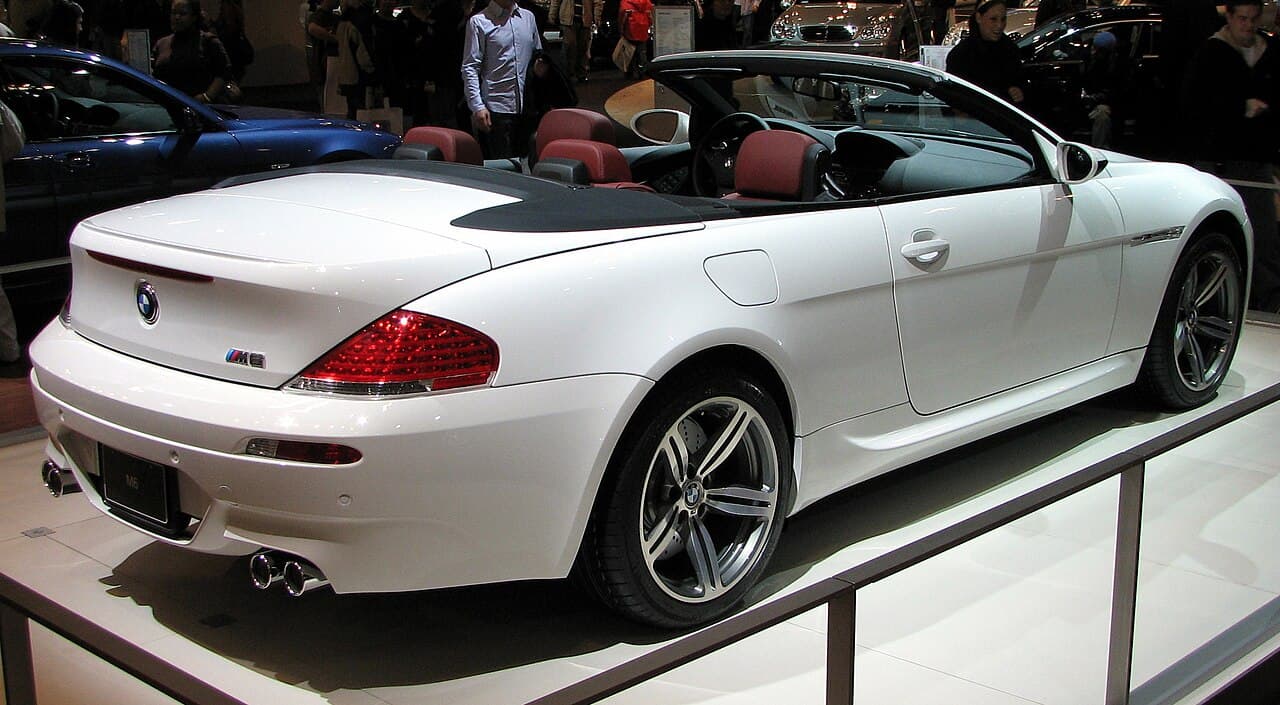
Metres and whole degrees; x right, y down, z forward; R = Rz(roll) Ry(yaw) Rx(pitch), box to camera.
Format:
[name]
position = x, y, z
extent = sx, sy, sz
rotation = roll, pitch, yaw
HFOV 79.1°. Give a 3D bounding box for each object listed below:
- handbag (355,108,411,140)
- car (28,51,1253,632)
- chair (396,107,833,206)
[handbag]
position = -2.452, -2.240, 7.420
extent = 0.455, 0.428, 0.236
rotation = 1, 28, 4
[car]
position = 0.154, -0.262, 3.762
extent = 5.290, 2.225, 1.971
rotation = -13, 27, -30
[chair]
position = -0.121, -0.933, 3.832
extent = 1.717, 0.506, 1.027
rotation = -6, 17, -16
